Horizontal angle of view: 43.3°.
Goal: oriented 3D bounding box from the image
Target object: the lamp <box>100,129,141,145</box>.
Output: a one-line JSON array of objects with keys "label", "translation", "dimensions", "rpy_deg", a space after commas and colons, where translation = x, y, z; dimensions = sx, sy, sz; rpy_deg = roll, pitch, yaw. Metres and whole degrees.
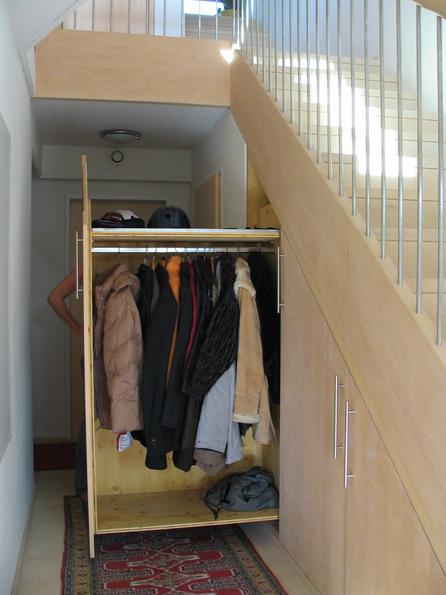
[{"label": "lamp", "translation": [-0.779, -1.245, 4.273], "dimensions": [0.300, 0.076, 0.234], "rpy_deg": [0, 0, -18]}]
